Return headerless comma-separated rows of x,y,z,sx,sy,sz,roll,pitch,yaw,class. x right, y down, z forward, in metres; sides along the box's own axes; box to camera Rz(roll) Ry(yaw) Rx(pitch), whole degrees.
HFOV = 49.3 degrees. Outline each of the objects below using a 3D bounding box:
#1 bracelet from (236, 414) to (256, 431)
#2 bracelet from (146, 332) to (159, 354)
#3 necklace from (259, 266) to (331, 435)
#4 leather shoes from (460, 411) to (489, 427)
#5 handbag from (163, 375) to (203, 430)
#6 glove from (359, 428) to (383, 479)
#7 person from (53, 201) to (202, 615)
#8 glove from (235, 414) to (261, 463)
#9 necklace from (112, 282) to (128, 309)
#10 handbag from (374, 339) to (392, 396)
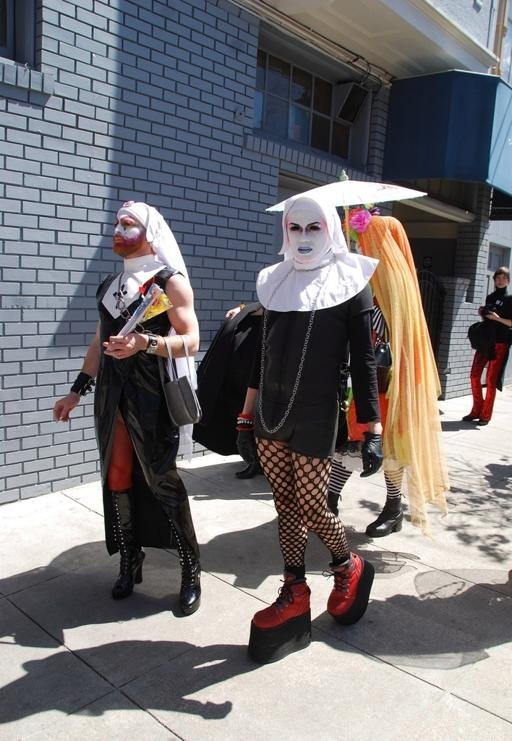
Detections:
-0.042,0.224,2.363,0.074,0.037,0.070,3,19,-3,bracelet
-0.388,-0.088,2.087,0.045,0.062,0.067,-7,18,-27,bracelet
0.173,-0.003,2.117,0.218,0.619,0.055,10,-2,43,necklace
2.732,0.605,7.001,0.131,0.145,0.408,-14,12,-39,leather shoes
-0.305,0.124,2.291,0.153,0.204,0.064,3,6,-9,handbag
0.434,0.334,2.184,0.093,0.158,0.126,3,0,-3,glove
-0.484,0.170,2.397,0.585,1.739,0.658,0,7,-35,person
-0.065,0.293,2.373,0.071,0.183,0.146,3,8,5,glove
-0.551,-0.299,2.269,0.032,0.106,0.115,-11,15,-39,necklace
0.641,-0.021,2.829,0.128,0.219,0.244,-2,25,6,handbag
